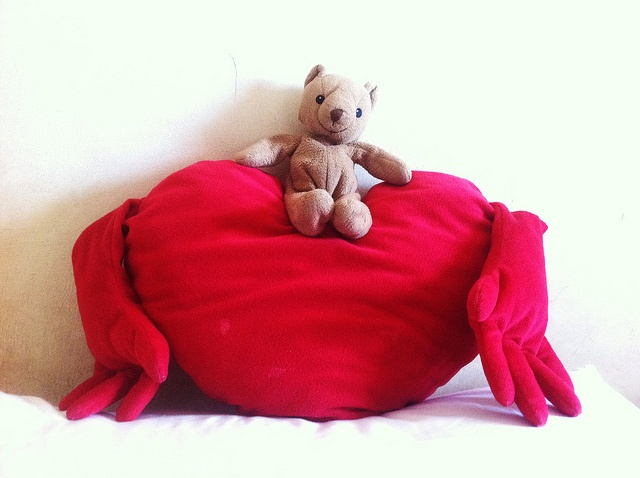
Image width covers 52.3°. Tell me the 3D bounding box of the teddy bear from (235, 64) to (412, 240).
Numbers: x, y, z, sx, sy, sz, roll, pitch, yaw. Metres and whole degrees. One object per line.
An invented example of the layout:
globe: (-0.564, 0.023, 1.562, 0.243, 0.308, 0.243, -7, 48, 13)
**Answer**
teddy bear: (0.016, -0.216, 1.638, 0.420, 0.441, 0.277, 3, 11, -11)
